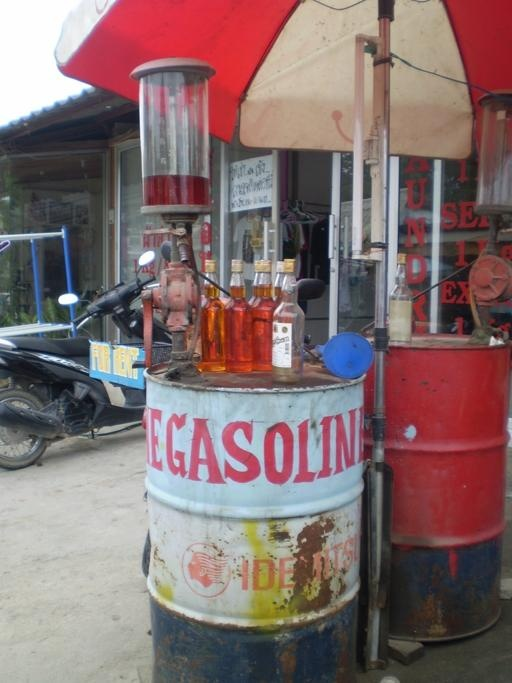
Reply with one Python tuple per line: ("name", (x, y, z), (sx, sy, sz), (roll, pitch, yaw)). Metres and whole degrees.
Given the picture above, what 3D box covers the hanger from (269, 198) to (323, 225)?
("hanger", (0.315, -1.019, 7.276), (0.297, 0.160, 0.407), (-2, 15, -8))
